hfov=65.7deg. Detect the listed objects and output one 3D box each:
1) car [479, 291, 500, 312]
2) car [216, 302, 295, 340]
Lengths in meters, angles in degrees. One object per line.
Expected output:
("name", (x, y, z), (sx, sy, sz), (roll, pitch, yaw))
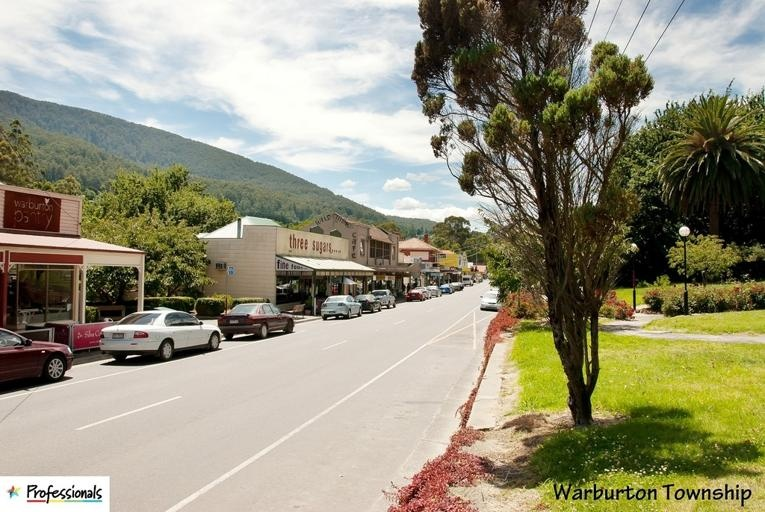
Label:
("car", (7.910, 3.311, 43.837), (1.085, 0.911, 2.537), (-1, -8, 8))
("car", (-5.889, 3.047, 28.441), (1.476, 1.238, 3.577), (-2, -2, 23))
